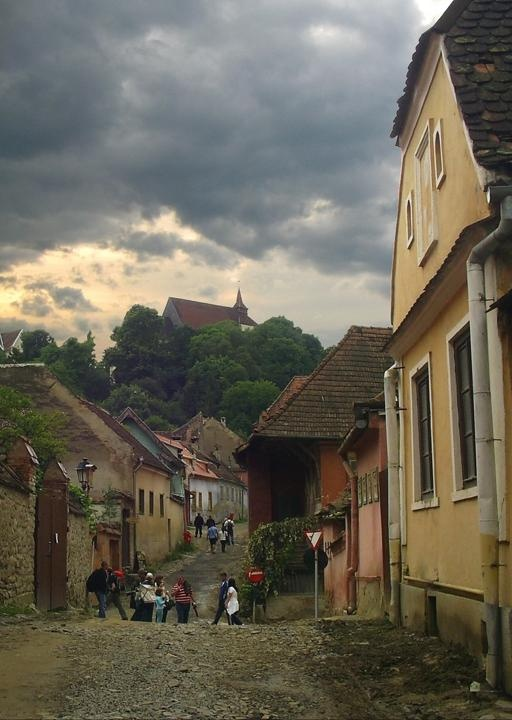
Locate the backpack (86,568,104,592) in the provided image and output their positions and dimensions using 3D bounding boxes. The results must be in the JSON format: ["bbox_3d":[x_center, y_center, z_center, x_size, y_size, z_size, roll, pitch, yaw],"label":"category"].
[{"bbox_3d":[-3.209,4.430,15.918,0.348,0.478,0.263,3,-12,-11],"label":"backpack"}]

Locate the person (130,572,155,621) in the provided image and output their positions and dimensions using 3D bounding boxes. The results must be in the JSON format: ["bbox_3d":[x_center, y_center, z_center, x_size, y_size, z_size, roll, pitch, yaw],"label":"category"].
[{"bbox_3d":[-2.276,4.826,16.119,0.463,0.898,1.610,2,-13,-7],"label":"person"}]

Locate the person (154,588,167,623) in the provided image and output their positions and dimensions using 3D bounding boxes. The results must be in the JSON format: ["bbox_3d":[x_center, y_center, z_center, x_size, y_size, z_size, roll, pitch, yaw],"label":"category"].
[{"bbox_3d":[-2.007,5.139,16.623,0.336,0.318,1.089,12,-35,8],"label":"person"}]

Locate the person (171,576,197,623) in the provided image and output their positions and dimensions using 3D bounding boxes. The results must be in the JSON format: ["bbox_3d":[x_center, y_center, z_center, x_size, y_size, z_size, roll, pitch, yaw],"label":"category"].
[{"bbox_3d":[-1.451,4.913,16.072,0.386,1.105,0.321,1,6,8],"label":"person"}]
